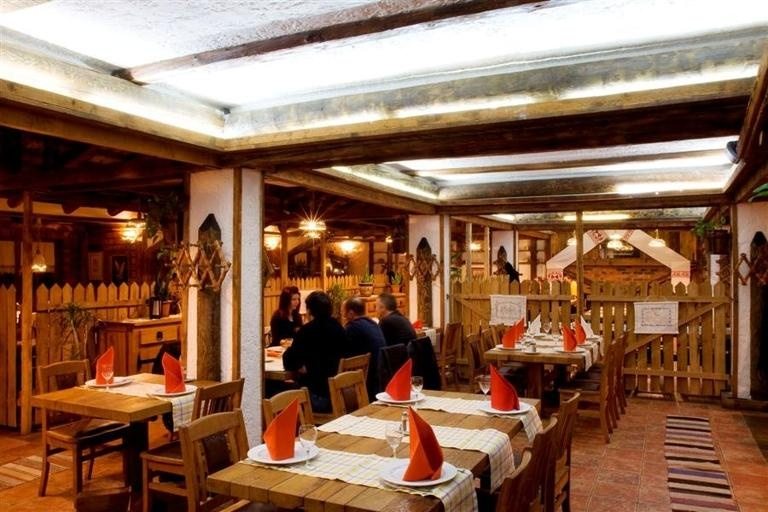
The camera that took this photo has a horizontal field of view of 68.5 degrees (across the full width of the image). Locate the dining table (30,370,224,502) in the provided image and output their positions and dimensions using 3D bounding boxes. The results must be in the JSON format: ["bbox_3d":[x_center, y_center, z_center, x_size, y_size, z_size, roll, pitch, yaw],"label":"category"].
[{"bbox_3d":[-2.496,1.469,5.790,1.501,1.246,1.469,2,2,31],"label":"dining table"}]

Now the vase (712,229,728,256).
[{"bbox_3d":[5.553,-0.238,9.219,0.333,0.372,0.120,0,6,1],"label":"vase"}]

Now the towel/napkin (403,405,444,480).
[{"bbox_3d":[0.275,1.279,3.836,0.267,0.422,0.305,0,6,5],"label":"towel/napkin"}]

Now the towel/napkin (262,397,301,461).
[{"bbox_3d":[-0.744,1.257,4.074,0.243,0.382,0.234,-1,6,-13],"label":"towel/napkin"}]

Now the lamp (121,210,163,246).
[{"bbox_3d":[-4.014,-0.482,9.288,0.967,0.482,0.910,0,0,-29],"label":"lamp"}]
